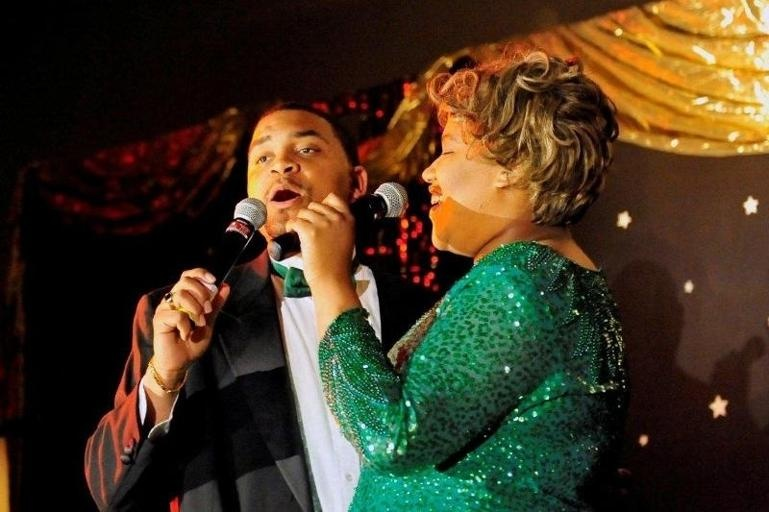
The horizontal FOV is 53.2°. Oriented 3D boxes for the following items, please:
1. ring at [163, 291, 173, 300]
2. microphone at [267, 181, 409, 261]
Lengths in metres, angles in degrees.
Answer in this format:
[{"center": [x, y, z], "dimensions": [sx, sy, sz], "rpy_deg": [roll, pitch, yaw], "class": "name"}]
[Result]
[{"center": [-0.755, 0.140, 2.706], "dimensions": [0.035, 0.009, 0.036], "rpy_deg": [-15, 26, 8], "class": "ring"}, {"center": [-0.183, -0.142, 2.854], "dimensions": [0.517, 0.147, 0.138], "rpy_deg": [-29, -16, -31], "class": "microphone"}]
